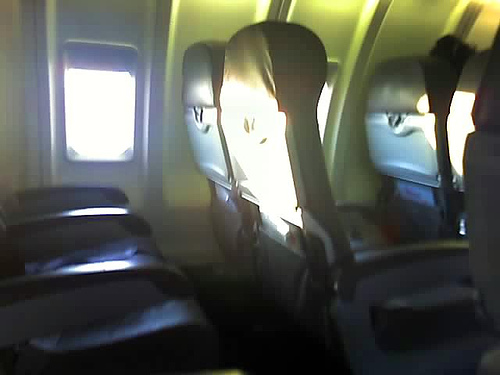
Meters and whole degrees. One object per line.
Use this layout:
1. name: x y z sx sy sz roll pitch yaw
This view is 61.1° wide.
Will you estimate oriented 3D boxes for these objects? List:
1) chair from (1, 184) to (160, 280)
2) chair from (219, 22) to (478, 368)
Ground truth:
1. chair: -0.379 0.049 0.938 0.266 0.181 0.203 -4 9 -21
2. chair: 0.131 0.014 1.333 0.671 0.922 0.550 -1 3 -21
